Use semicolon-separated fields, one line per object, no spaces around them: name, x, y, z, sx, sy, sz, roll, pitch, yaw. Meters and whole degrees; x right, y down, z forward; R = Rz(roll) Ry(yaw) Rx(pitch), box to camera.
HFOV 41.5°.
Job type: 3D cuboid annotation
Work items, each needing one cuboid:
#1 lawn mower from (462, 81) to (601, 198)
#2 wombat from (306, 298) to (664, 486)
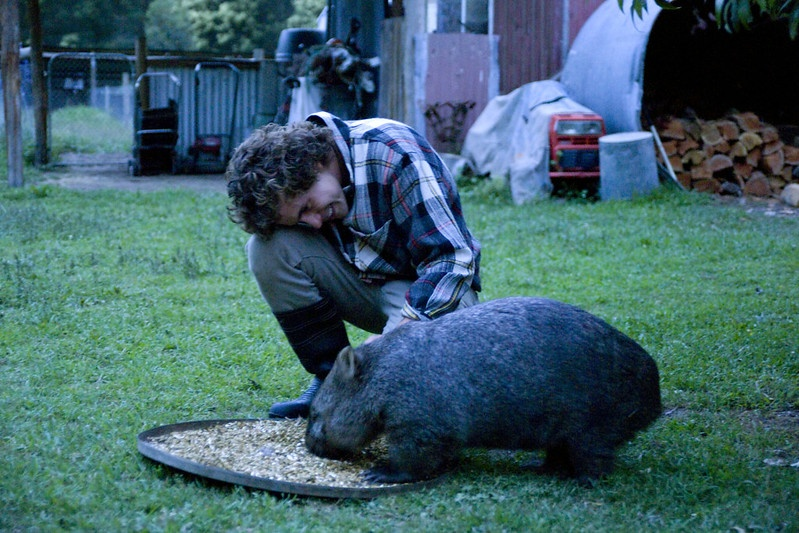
lawn mower;1.566;-1.548;13.022;0.976;1.470;1.438;-3;7;-24
wombat;0.698;0.752;7.396;2.531;1.361;0.964;0;4;4
